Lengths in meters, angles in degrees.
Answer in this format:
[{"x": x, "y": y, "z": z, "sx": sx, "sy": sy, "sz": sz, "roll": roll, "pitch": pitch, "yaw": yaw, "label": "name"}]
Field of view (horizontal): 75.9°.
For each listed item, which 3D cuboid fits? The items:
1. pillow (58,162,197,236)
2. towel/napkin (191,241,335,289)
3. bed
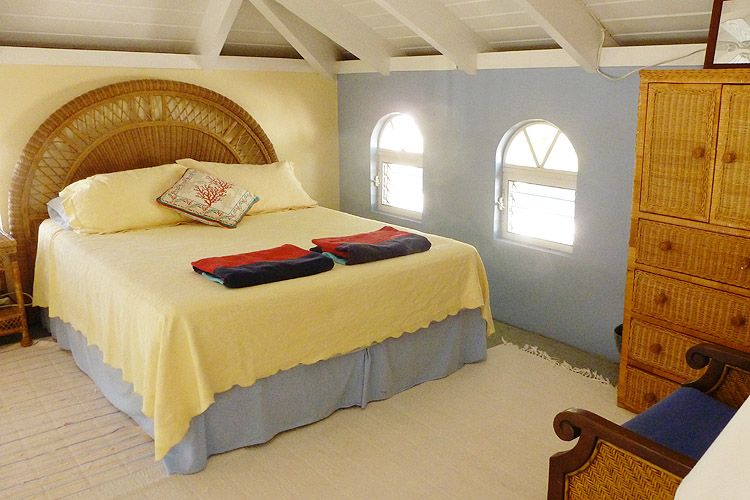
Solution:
[{"x": -1.939, "y": -0.414, "z": 3.785, "sx": 0.843, "sy": 0.560, "sz": 0.246, "roll": -8, "pitch": -27, "yaw": -35, "label": "pillow"}, {"x": -0.656, "y": 0.095, "z": 2.964, "sx": 0.475, "sy": 0.075, "sz": 0.389, "roll": -10, "pitch": 20, "yaw": -36, "label": "towel/napkin"}, {"x": -1.303, "y": 0.093, "z": 3.960, "sx": 2.837, "sy": 2.069, "sz": 3.415, "roll": -19, "pitch": 30, "yaw": -39, "label": "bed"}]
